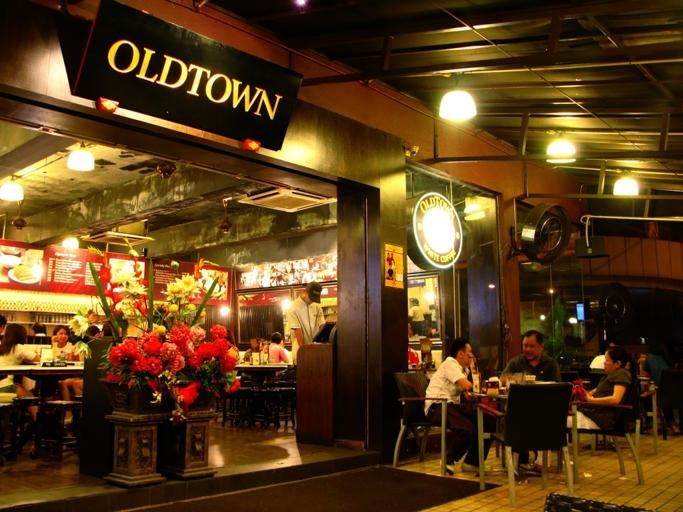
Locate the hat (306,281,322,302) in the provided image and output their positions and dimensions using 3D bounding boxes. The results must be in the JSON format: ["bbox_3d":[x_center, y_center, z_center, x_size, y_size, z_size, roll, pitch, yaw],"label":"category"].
[{"bbox_3d":[-0.416,0.508,7.760,0.192,0.279,0.143,2,-32,-40],"label":"hat"}]

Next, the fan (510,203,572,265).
[{"bbox_3d":[3.318,-0.390,9.124,1.195,0.956,0.589,-11,16,-28],"label":"fan"}]

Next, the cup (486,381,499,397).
[{"bbox_3d":[1.623,1.436,5.850,0.108,0.110,0.112,-1,1,0],"label":"cup"}]

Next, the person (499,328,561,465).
[{"bbox_3d":[2.320,1.778,6.651,0.674,1.654,0.504,-3,-30,22],"label":"person"}]

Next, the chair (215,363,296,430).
[{"bbox_3d":[-1.342,2.337,8.813,1.298,0.888,1.350,-1,-10,17],"label":"chair"}]

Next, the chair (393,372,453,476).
[{"bbox_3d":[1.054,1.901,6.451,0.821,1.011,0.844,-1,-7,-10],"label":"chair"}]

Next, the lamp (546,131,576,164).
[{"bbox_3d":[3.421,-1.691,8.498,0.544,0.610,0.558,2,4,24],"label":"lamp"}]

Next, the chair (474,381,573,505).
[{"bbox_3d":[1.780,1.745,5.230,0.754,1.090,0.725,3,-7,-11],"label":"chair"}]

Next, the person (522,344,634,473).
[{"bbox_3d":[2.891,1.808,6.409,0.766,1.440,0.682,6,-6,14],"label":"person"}]

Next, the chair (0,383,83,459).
[{"bbox_3d":[-3.485,1.917,6.330,0.914,0.999,0.889,2,-17,-14],"label":"chair"}]

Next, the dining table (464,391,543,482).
[{"bbox_3d":[1.656,1.862,5.840,0.662,0.819,0.678,-20,-22,22],"label":"dining table"}]

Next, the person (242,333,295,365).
[{"bbox_3d":[-1.307,1.742,9.885,0.724,0.351,0.747,0,-10,3],"label":"person"}]

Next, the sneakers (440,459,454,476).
[{"bbox_3d":[1.168,2.319,6.012,0.102,0.123,0.297,-2,-11,20],"label":"sneakers"}]
